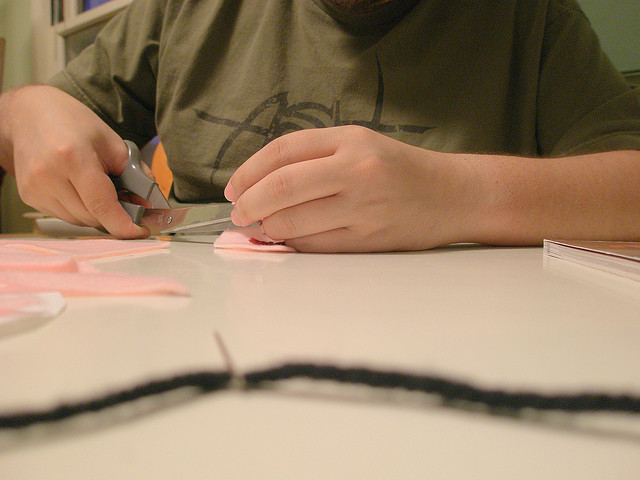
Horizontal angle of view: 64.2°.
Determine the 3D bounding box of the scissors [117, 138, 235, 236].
[{"bbox_3d":[-0.260,-0.086,0.782,0.273,0.130,0.042,5,-10,21],"label":"scissors"}]
